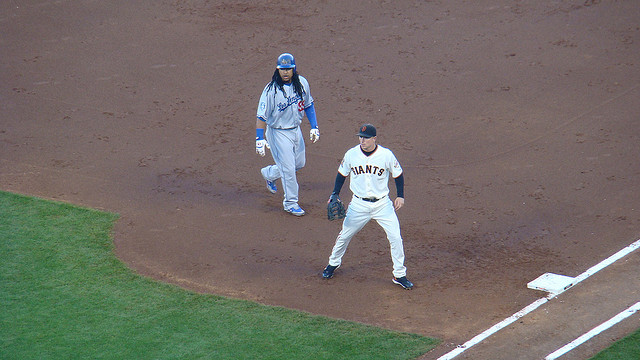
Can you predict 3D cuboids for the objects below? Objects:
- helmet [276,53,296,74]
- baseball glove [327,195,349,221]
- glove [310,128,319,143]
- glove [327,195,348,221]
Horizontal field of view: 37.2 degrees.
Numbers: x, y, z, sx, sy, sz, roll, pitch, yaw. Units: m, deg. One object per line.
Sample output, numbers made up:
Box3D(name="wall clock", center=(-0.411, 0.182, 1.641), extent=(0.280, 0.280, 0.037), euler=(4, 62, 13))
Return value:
Box3D(name="helmet", center=(-0.820, -2.887, 23.355), extent=(0.478, 0.344, 0.498), euler=(-1, 5, -5))
Box3D(name="baseball glove", center=(0.331, 0.739, 22.050), extent=(0.474, 0.540, 0.166), euler=(1, 58, -16))
Box3D(name="glove", center=(-0.135, -1.141, 23.814), extent=(0.292, 0.270, 0.140), euler=(8, -1, 0))
Box3D(name="glove", center=(0.348, 0.660, 22.205), extent=(0.518, 0.534, 0.240), euler=(-6, 6, -7))
